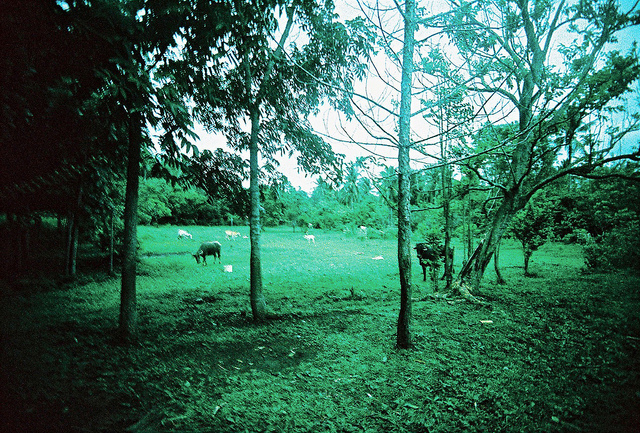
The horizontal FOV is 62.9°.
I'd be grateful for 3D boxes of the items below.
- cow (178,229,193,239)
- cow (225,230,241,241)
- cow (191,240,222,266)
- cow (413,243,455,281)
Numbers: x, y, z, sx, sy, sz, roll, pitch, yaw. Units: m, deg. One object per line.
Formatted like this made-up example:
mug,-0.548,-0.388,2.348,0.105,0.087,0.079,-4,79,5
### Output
cow,-6.279,0.810,24.177,0.333,0.428,0.810,-3,-3,24
cow,-4.537,0.981,26.486,0.350,0.513,1.378,-2,-3,13
cow,-5.174,1.674,24.294,0.851,1.059,1.907,-3,-3,24
cow,4.291,1.757,20.053,0.997,1.464,3.049,-1,-3,-6
